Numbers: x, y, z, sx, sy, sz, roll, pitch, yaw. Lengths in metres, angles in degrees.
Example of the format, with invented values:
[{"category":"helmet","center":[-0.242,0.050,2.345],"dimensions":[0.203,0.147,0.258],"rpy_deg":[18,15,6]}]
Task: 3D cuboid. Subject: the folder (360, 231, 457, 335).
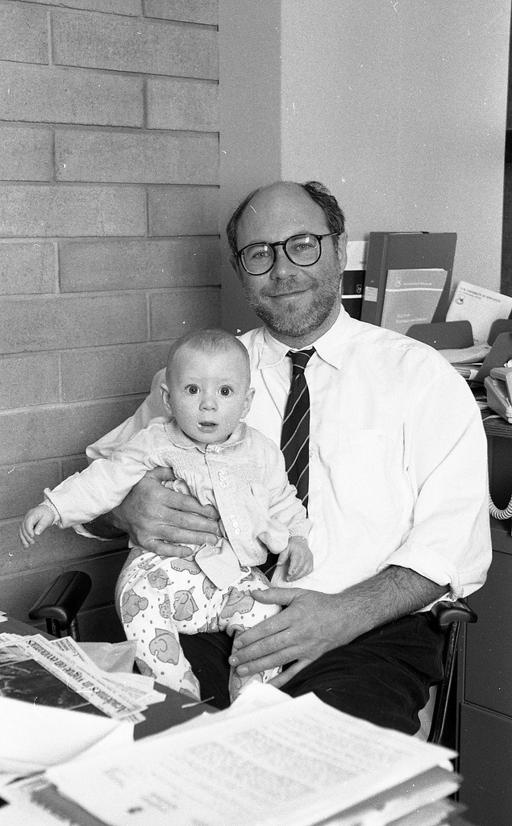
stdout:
[{"category":"folder","center":[0.406,-0.363,2.007],"dimensions":[0.332,0.345,0.094],"rpy_deg":[-8,16,-33]}]
